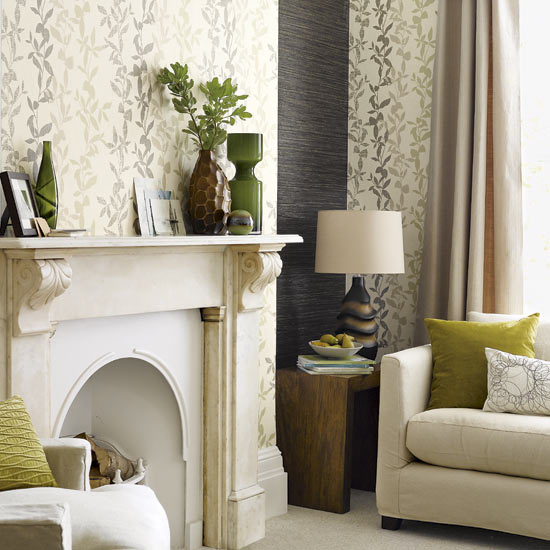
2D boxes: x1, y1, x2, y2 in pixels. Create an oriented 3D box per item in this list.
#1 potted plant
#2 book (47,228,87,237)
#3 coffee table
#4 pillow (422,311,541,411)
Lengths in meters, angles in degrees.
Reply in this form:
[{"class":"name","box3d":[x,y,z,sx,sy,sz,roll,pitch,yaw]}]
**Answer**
[{"class":"potted plant","box3d":[-0.275,-0.510,2.416,0.228,0.692,0.448,3,6,43]},{"class":"book","box3d":[-0.613,-0.122,1.748,0.104,0.022,0.103,-3,5,-24]},{"class":"coffee table","box3d":[0.339,0.764,3.261,0.433,0.964,0.892,2,-6,22]},{"class":"pillow","box3d":[0.924,0.399,2.661,0.302,0.346,0.136,1,-27,4]}]
